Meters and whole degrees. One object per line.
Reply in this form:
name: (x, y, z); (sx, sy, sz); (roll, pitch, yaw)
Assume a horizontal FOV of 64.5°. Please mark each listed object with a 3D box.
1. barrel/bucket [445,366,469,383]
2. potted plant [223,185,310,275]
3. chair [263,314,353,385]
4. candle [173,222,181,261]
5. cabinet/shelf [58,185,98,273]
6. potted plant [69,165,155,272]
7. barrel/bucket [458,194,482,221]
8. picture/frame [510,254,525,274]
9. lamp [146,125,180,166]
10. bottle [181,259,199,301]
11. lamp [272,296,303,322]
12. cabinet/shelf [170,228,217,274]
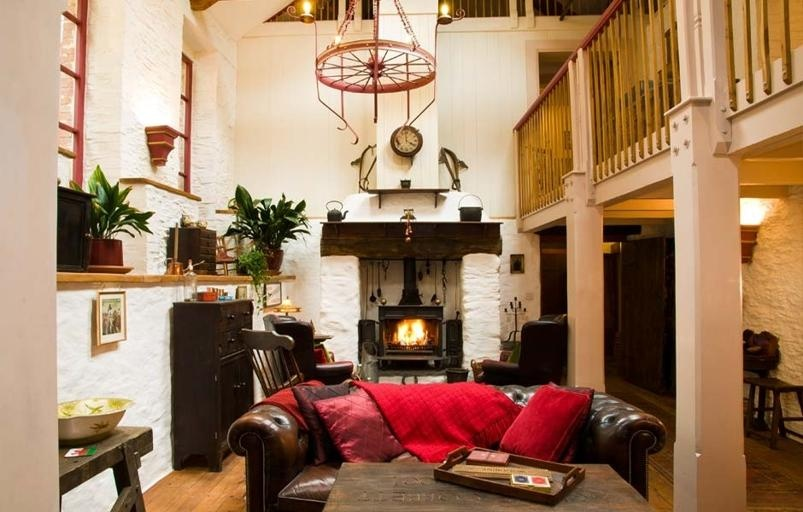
barrel/bucket: (0.736, 1.593, 8.488); (0.303, 0.218, 0.307); (0, -8, 0)
potted plant: (-1.983, -0.363, 9.438); (1.122, 1.214, 0.883); (1, -3, -13)
chair: (-1.011, 1.194, 7.519); (0.938, 0.978, 0.853); (-1, 1, -39)
candle: (-2.781, -0.151, 7.966); (0.074, 0.423, 0.060); (1, -3, -21)
cabinet/shelf: (-2.793, -0.223, 5.475); (0.120, 0.708, 0.314); (-1, -3, 17)
potted plant: (-2.883, -0.307, 6.195); (0.796, 1.026, 1.075); (-1, -5, -10)
barrel/bucket: (0.973, -0.706, 9.250); (0.428, 0.483, 0.283); (0, -5, -1)
picture/frame: (1.795, 0.134, 10.003); (0.285, 0.360, 0.040); (2, -4, -3)
lamp: (-2.922, -1.335, 7.806); (0.483, 0.411, 0.465); (-5, -6, 40)
bottle: (-2.199, 0.281, 6.725); (0.135, 0.373, 0.314); (1, -4, -17)
lamp: (-1.506, 0.744, 8.792); (0.422, 0.440, 0.423); (1, -6, 4)
cabinet/shelf: (-2.659, -0.044, 8.214); (0.553, 0.638, 0.580); (-2, -3, 42)
